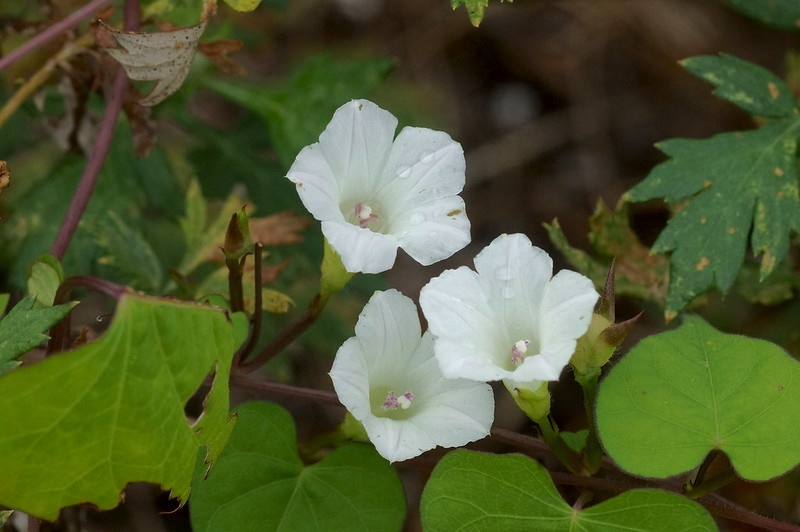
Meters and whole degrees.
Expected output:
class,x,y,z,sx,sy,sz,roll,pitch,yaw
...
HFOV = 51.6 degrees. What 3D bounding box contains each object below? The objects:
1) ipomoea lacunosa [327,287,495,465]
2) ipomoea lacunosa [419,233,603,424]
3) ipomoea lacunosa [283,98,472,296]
class,x,y,z,sx,sy,sz,roll,pitch,yaw
ipomoea lacunosa,0.021,0.390,2.714,0.525,0.588,0.288,5,-27,-22
ipomoea lacunosa,0.357,0.175,2.845,0.552,0.585,0.546,34,-6,17
ipomoea lacunosa,-0.115,-0.220,2.831,0.548,0.274,0.575,0,-45,-19
